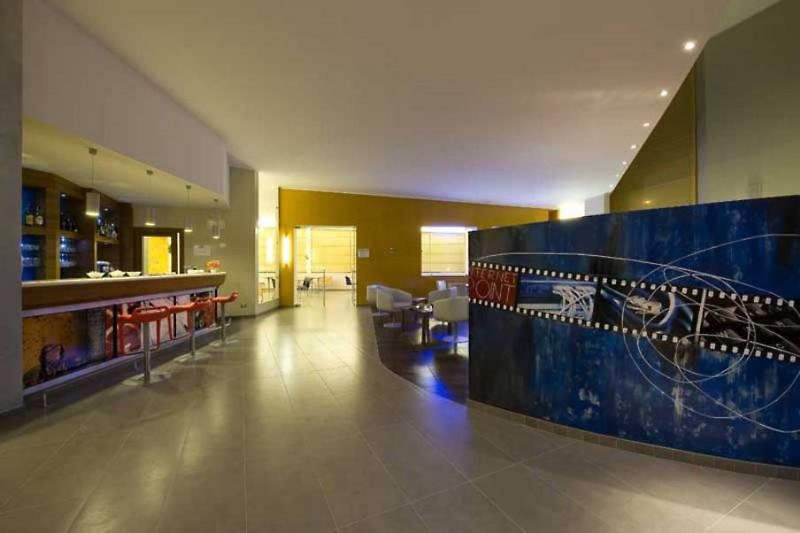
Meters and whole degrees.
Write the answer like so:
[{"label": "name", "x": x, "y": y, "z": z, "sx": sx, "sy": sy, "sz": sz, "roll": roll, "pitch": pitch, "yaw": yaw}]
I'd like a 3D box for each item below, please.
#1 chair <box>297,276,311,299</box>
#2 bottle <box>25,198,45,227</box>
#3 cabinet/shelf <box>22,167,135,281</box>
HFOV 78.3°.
[{"label": "chair", "x": -3.702, "y": 0.827, "z": 18.857, "sx": 0.472, "sy": 0.685, "sz": 2.465, "roll": -1, "pitch": 5, "yaw": -12}, {"label": "bottle", "x": -6.609, "y": -0.939, "z": 8.855, "sx": 0.287, "sy": 0.449, "sz": 0.137, "roll": -4, "pitch": 6, "yaw": -40}, {"label": "cabinet/shelf", "x": -6.457, "y": -0.492, "z": 10.007, "sx": 0.495, "sy": 2.210, "sz": 2.324, "roll": -3, "pitch": -2, "yaw": 6}]
